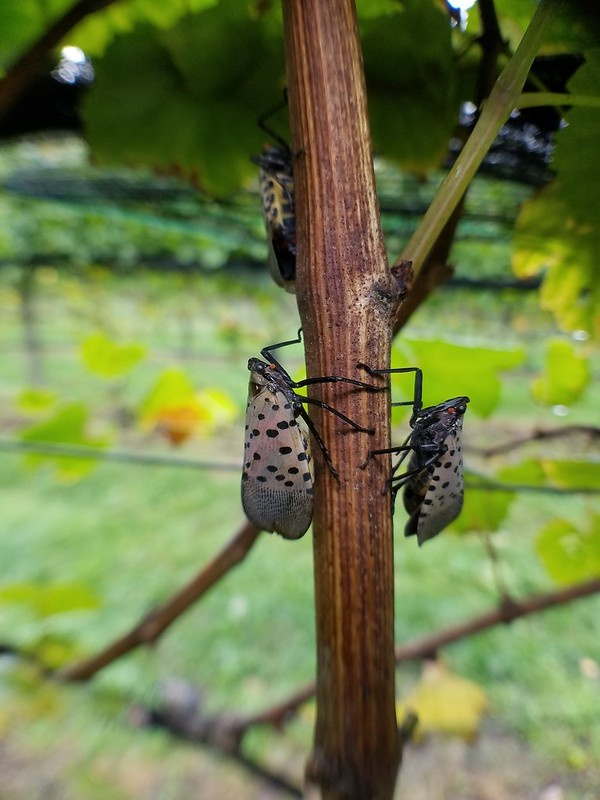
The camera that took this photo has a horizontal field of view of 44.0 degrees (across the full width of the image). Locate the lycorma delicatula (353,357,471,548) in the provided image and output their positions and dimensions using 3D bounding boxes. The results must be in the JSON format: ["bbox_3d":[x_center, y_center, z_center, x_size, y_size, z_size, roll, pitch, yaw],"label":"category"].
[{"bbox_3d":[0.108,0.049,0.737,0.121,0.094,0.189,-14,99,-20],"label":"lycorma delicatula"}]

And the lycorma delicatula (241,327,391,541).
[{"bbox_3d":[-0.014,0.034,0.622,0.057,0.167,0.159,11,69,-45],"label":"lycorma delicatula"}]
